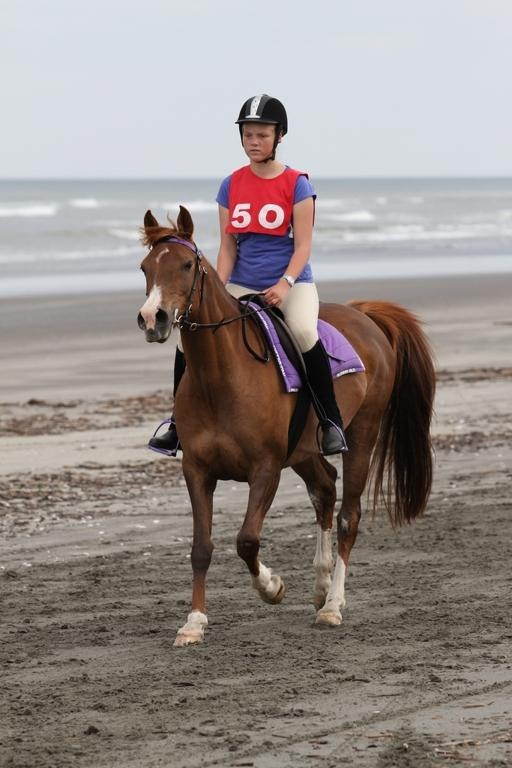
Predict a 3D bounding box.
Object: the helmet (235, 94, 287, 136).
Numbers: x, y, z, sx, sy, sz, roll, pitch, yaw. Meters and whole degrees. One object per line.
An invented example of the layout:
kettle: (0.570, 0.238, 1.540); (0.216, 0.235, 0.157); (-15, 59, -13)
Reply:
helmet: (0.037, -1.481, 5.009); (0.260, 0.206, 0.371); (-1, 4, 0)

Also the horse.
horse: (0.138, 0.357, 5.443); (0.928, 2.234, 3.390); (-2, -2, 33)

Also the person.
person: (0.061, -0.599, 5.150); (1.180, 1.984, 0.911); (6, 15, 30)
